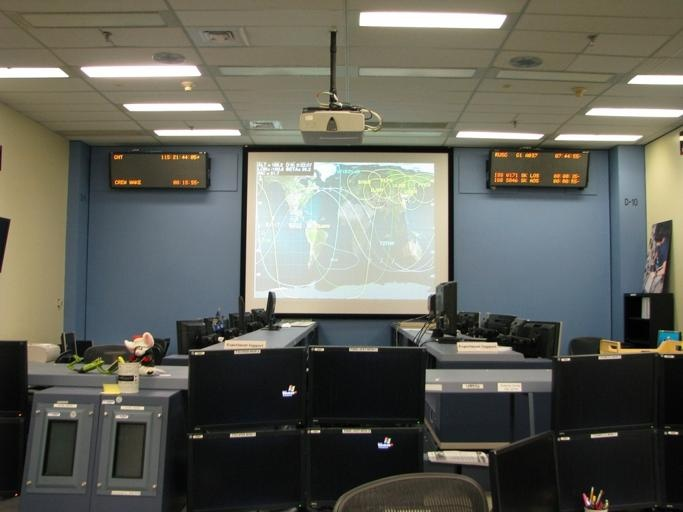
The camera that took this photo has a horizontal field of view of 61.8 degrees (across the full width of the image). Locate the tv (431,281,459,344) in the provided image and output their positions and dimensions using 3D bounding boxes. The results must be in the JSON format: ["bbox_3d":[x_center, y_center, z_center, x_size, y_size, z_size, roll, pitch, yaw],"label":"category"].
[{"bbox_3d":[0.972,0.543,5.310,0.246,0.677,0.587,0,0,-4],"label":"tv"}]

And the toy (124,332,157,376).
[{"bbox_3d":[-1.171,0.592,3.478,0.275,0.300,0.232,-1,-14,-14],"label":"toy"}]

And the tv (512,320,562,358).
[{"bbox_3d":[1.672,0.737,5.012,0.249,0.331,0.481,5,-4,-22],"label":"tv"}]

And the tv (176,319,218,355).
[{"bbox_3d":[-1.378,0.767,5.497,0.236,0.406,0.438,-1,5,14],"label":"tv"}]

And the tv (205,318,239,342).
[{"bbox_3d":[-1.213,0.744,5.682,0.332,0.338,0.185,4,1,-41],"label":"tv"}]

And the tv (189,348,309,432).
[{"bbox_3d":[-0.504,0.727,3.125,0.636,0.437,0.059,0,-5,-13],"label":"tv"}]

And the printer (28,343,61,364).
[{"bbox_3d":[-2.249,0.731,4.302,0.189,0.100,0.204,2,-2,-1],"label":"printer"}]

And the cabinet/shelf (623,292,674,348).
[{"bbox_3d":[3.805,0.786,6.999,0.246,0.687,0.715,0,0,2],"label":"cabinet/shelf"}]

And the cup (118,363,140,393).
[{"bbox_3d":[-1.225,0.695,3.283,0.156,0.167,0.154,-1,-5,0],"label":"cup"}]

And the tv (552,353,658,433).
[{"bbox_3d":[1.388,0.736,3.019,0.432,0.274,0.061,0,-1,-5],"label":"tv"}]

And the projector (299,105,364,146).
[{"bbox_3d":[-0.084,-1.105,4.750,0.514,0.269,0.360,-1,-3,-4],"label":"projector"}]
